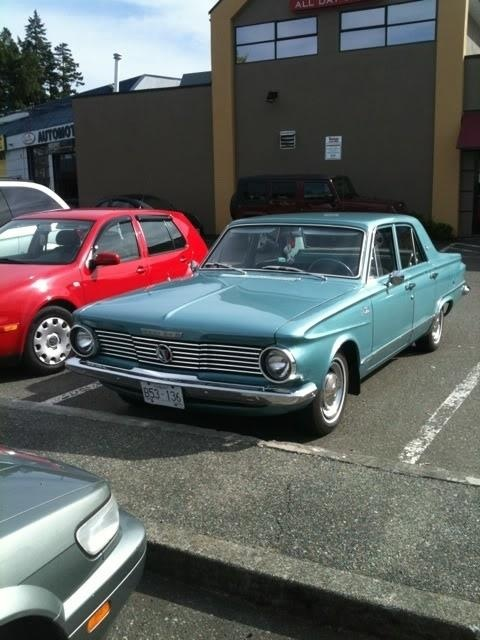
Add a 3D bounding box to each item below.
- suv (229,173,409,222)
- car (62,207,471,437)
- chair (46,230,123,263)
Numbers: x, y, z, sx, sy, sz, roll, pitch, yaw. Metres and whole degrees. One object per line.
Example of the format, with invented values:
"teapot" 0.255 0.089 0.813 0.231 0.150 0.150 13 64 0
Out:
"suv" 2.454 -4.243 17.189 5.205 2.372 2.838 2 17 18
"car" 0.767 -0.177 4.735 1.754 1.111 3.573 7 14 33
"chair" -1.946 -0.879 6.358 0.457 0.355 0.799 2 1 26
